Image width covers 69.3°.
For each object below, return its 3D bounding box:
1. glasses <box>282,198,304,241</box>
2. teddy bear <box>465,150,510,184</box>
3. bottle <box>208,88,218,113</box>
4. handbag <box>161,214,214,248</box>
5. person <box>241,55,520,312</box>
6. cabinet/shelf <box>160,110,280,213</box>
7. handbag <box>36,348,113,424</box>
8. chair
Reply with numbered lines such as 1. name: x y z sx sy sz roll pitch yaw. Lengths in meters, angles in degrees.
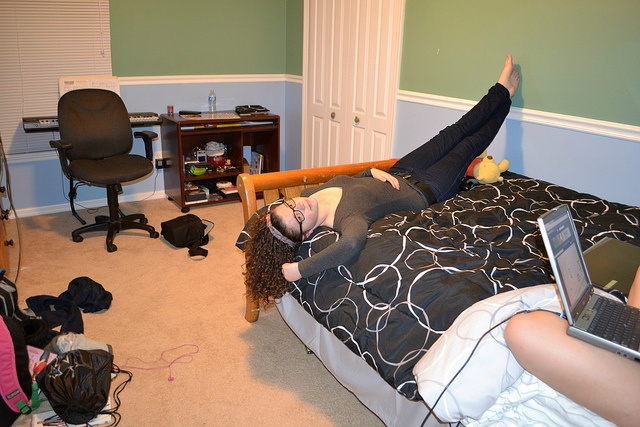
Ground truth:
1. glasses: -0.162 0.028 2.878 0.060 0.211 0.204 -17 46 -27
2. teddy bear: 1.243 -0.372 3.539 0.321 0.229 0.325 14 34 10
3. bottle: -1.201 -1.256 5.136 0.093 0.235 0.094 1 25 -1
4. handbag: -1.195 0.161 4.188 0.274 0.146 0.378 25 29 33
5. person: 0.499 -0.275 3.387 2.522 0.650 0.823 -46 38 -5
6. cabinet/shelf: -1.033 -0.608 5.149 1.105 0.902 0.561 -11 23 -27
7. handbag: -1.368 0.982 2.626 0.329 0.305 0.261 -6 27 -16
8. chair: -1.912 -0.434 4.177 0.809 1.244 0.831 -13 29 -27
